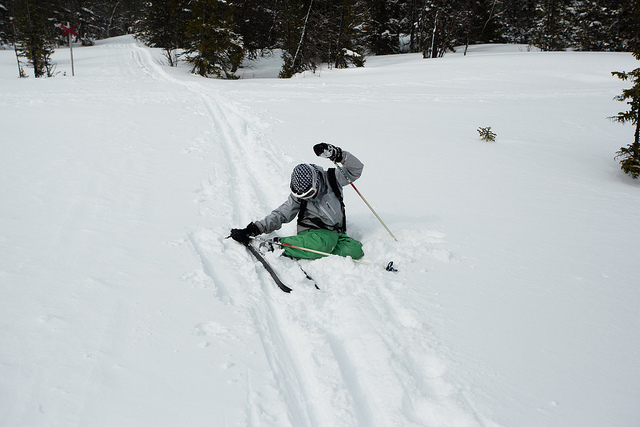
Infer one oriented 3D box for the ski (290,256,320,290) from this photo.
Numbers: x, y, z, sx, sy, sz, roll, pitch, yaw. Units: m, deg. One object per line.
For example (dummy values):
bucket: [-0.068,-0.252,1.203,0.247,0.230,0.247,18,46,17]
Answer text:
ski: [-0.235,0.923,7.082,0.546,0.060,0.059,45,47,8]
